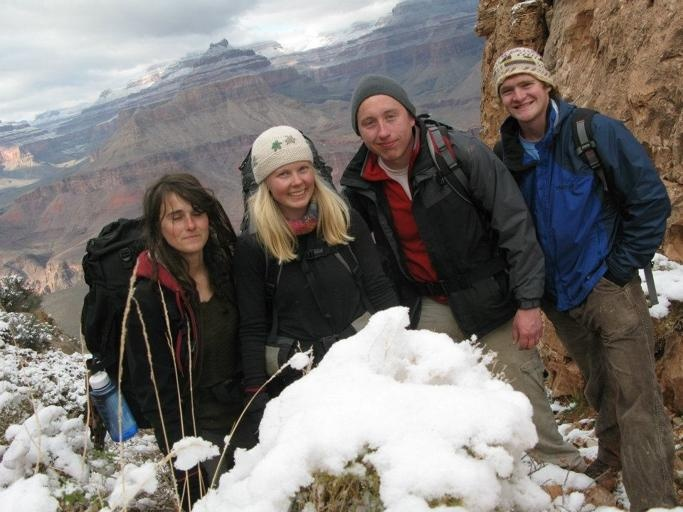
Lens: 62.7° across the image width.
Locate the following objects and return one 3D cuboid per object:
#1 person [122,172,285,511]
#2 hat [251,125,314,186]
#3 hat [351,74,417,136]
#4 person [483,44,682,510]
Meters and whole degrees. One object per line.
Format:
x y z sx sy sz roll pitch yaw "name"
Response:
-1.047 0.644 4.135 1.109 2.429 0.826 -25 20 -33 "person"
-0.525 -0.822 4.227 0.440 0.330 0.442 -12 12 42 "hat"
0.281 -1.147 4.412 0.416 0.340 0.495 -6 -6 1 "hat"
1.860 0.033 3.968 0.799 3.064 1.464 -14 17 -1 "person"
